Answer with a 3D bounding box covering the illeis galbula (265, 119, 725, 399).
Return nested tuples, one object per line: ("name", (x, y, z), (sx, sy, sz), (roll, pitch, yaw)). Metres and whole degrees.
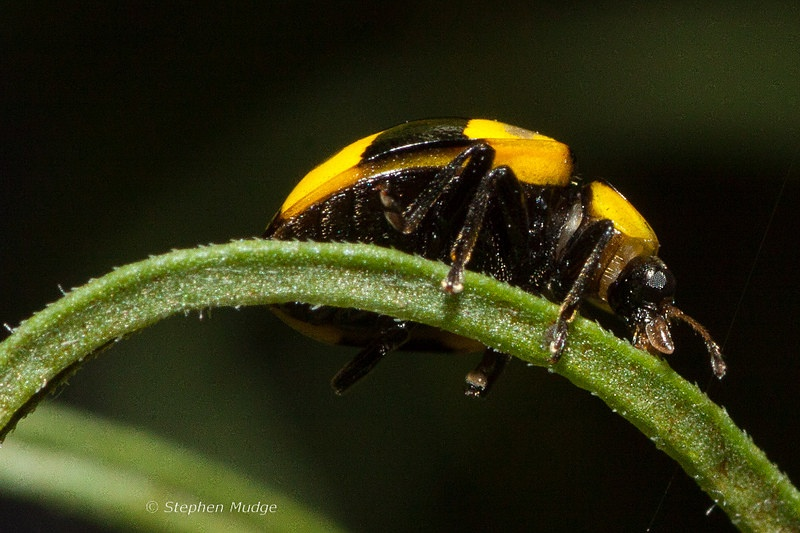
("illeis galbula", (0.366, -0.018, 3.998), (1.869, 1.107, 1.183), (4, 48, 1))
